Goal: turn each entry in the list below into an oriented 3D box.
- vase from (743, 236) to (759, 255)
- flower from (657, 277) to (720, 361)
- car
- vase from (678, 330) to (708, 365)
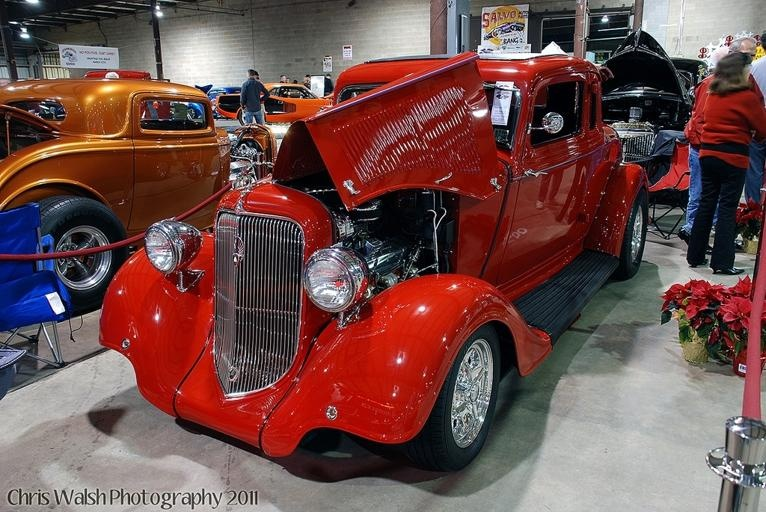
[{"bbox_3d":[4.445,-0.123,5.740,0.195,0.182,0.193,-10,14,-39],"label":"vase"},{"bbox_3d":[2.448,0.508,4.124,0.579,0.613,0.615,0,8,12],"label":"flower"},{"bbox_3d":[0.566,-0.192,4.000,2.459,2.025,4.565,9,21,41],"label":"car"},{"bbox_3d":[2.525,0.737,3.940,0.227,0.254,0.224,-9,11,-38],"label":"vase"}]
